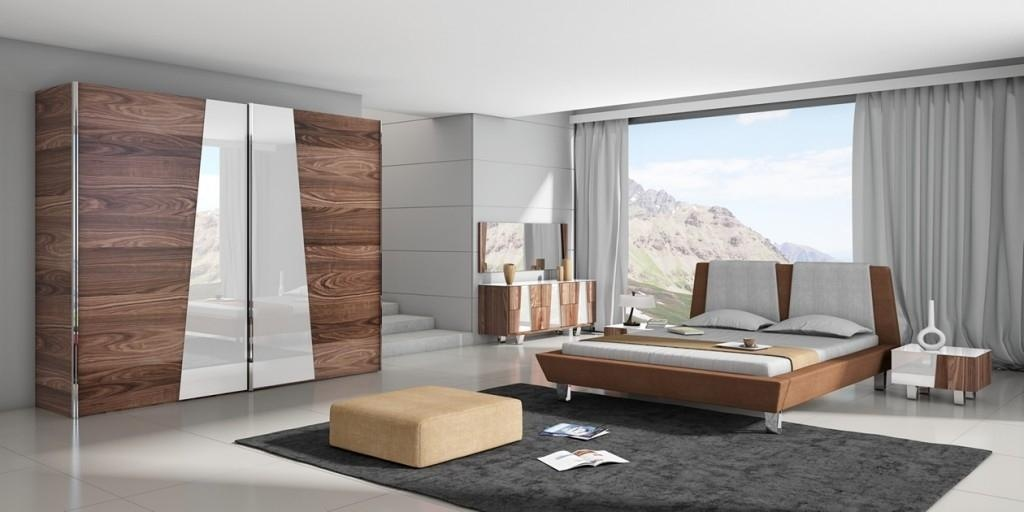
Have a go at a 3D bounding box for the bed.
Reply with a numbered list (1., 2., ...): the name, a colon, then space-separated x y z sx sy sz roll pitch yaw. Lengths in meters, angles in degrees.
1. bed: 2.809 0.943 7.525 2.958 0.990 3.364 1 9 43

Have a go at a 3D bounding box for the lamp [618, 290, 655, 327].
1. lamp: 1.801 0.838 9.058 0.772 0.442 0.614 4 -11 7

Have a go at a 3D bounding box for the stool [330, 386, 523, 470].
1. stool: -1.039 1.654 5.797 1.106 0.278 1.131 -1 0 39

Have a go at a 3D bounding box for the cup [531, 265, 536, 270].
1. cup: 0.401 0.213 10.865 0.111 0.067 0.090 1 1 8

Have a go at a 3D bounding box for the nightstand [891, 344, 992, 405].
1. nightstand: 5.337 1.407 7.215 0.972 0.384 0.946 0 -1 39

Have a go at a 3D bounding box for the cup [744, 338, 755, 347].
1. cup: 2.784 1.016 6.816 0.141 0.060 0.107 -2 -2 33
